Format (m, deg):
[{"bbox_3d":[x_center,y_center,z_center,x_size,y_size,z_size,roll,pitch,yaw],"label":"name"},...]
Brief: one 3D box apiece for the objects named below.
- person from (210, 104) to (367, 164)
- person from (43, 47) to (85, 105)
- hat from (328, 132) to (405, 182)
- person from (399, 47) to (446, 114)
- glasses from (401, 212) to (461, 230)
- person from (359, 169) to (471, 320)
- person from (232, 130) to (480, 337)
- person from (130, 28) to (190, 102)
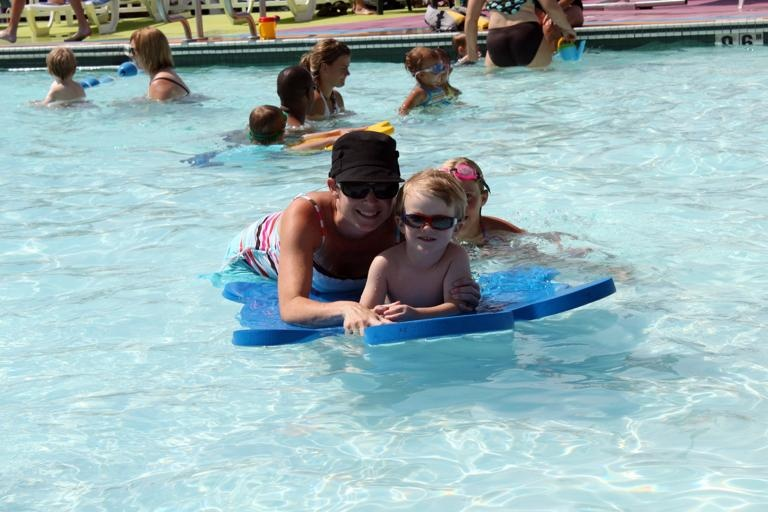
[{"bbox_3d":[-0.985,-1.170,6.921,1.230,0.286,1.058,-2,25,4],"label":"person"},{"bbox_3d":[-3.671,-2.027,8.729,0.447,0.650,0.395,-4,19,4],"label":"person"},{"bbox_3d":[-0.112,-0.485,3.800,0.352,0.248,0.291,-4,15,-3],"label":"hat"},{"bbox_3d":[0.365,-1.758,7.818,0.514,0.674,0.337,-4,19,3],"label":"person"},{"bbox_3d":[0.212,-0.164,3.750,0.253,0.081,0.072,-2,17,1],"label":"glasses"},{"bbox_3d":[0.151,-0.043,3.757,0.575,0.684,0.319,-8,20,-11],"label":"person"},{"bbox_3d":[-0.191,-0.057,4.087,1.029,0.446,1.257,-11,26,-30],"label":"person"},{"bbox_3d":[-2.441,-2.063,8.401,0.534,0.795,0.426,-9,19,-10],"label":"person"}]
